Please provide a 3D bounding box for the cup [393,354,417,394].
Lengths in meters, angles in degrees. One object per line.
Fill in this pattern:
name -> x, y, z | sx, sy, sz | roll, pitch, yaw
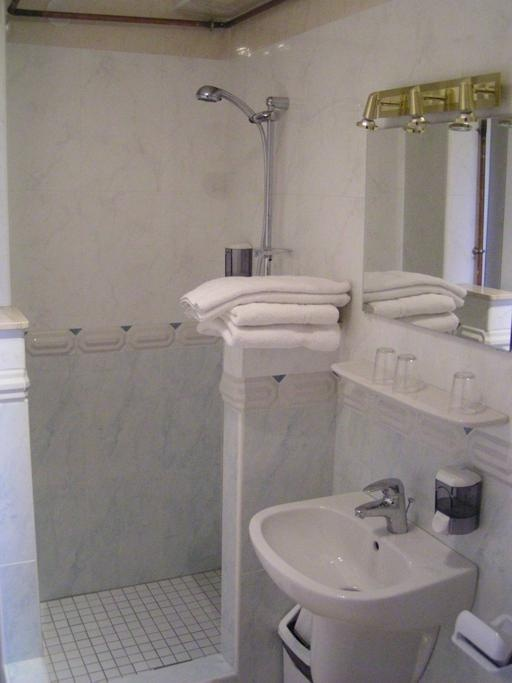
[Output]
cup -> 0.345, 0.075, 1.489 | 0.054, 0.075, 0.094 | -3, 11, 15

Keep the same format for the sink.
sink -> 0.227, 0.435, 1.484 | 0.290, 0.151, 0.404 | -7, 12, -22

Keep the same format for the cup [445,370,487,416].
cup -> 0.432, 0.107, 1.314 | 0.080, 0.084, 0.069 | -6, 6, -37

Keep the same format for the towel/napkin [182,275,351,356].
towel/napkin -> 0.051, -0.057, 1.766 | 0.453, 0.255, 0.260 | -10, 11, -20
